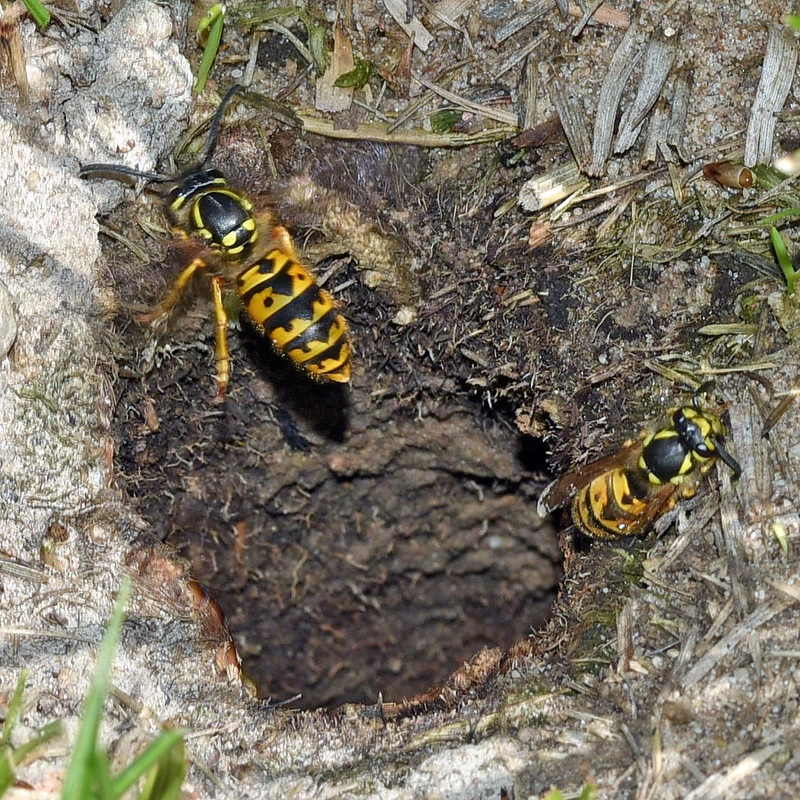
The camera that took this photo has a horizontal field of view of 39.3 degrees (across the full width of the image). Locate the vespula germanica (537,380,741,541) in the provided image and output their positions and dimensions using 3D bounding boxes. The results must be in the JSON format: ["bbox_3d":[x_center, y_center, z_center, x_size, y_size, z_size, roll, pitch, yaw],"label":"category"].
[{"bbox_3d":[1.146,0.339,5.666,0.691,0.974,0.495,-31,91,0],"label":"vespula germanica"}]

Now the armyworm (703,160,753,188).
[{"bbox_3d":[1.545,-1.061,5.261,0.196,0.072,0.117,19,109,12],"label":"armyworm"}]

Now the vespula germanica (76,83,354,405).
[{"bbox_3d":[-0.705,-0.425,5.751,1.221,1.390,1.301,-35,69,-14],"label":"vespula germanica"}]
